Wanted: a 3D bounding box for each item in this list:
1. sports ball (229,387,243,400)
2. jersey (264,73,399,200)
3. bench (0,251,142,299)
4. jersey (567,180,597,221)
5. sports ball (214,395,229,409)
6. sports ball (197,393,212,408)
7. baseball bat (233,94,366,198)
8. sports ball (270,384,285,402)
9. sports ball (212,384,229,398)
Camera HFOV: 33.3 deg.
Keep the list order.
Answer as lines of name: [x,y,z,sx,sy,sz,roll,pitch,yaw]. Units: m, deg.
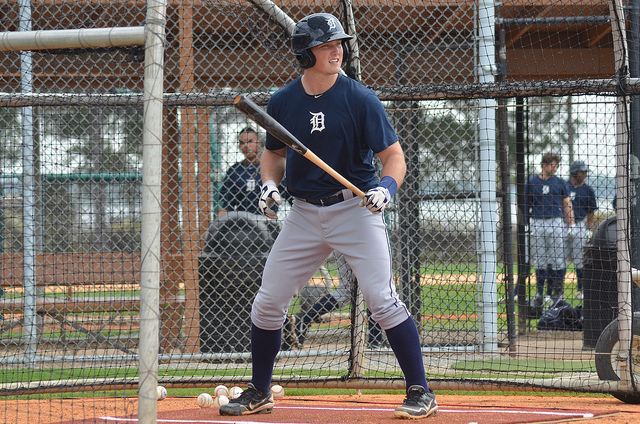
sports ball: [-0.820,1.746,10.299,0.093,0.128,0.119,10,-8,-26]
jersey: [0.036,-0.723,10.125,1.237,1.195,0.720,-1,6,12]
bench: [-3.066,0.724,12.576,1.803,0.602,2.823,-1,-4,-8]
jersey: [3.155,-0.145,12.860,0.231,0.486,0.413,1,6,42]
sports ball: [-0.954,1.813,10.217,0.104,0.117,0.116,-9,-28,4]
sports ball: [-1.117,1.822,10.383,0.110,0.127,0.119,17,15,-5]
baseball bat: [-0.160,-0.623,10.178,1.395,0.115,0.183,42,-24,-3]
sports ball: [-0.422,1.783,10.540,0.120,0.141,0.130,13,-1,0]
sports ball: [-0.963,1.741,10.449,0.116,0.137,0.123,1,6,0]
